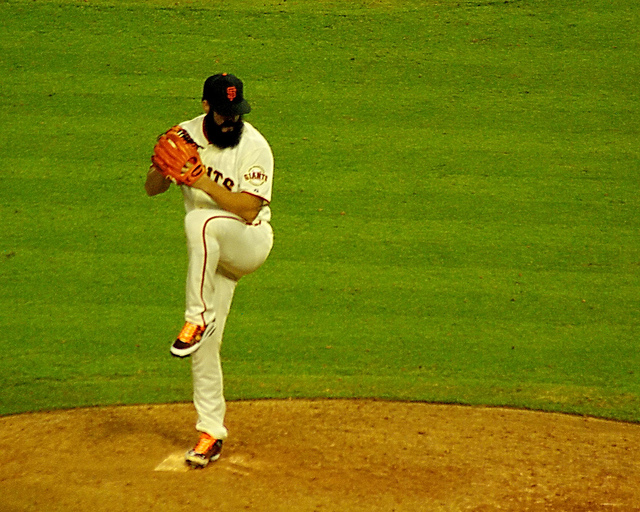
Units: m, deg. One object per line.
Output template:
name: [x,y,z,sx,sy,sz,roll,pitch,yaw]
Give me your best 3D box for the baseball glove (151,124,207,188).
baseball glove: [-1.361,-0.990,10.864,0.518,0.437,0.235,57,0,22]
